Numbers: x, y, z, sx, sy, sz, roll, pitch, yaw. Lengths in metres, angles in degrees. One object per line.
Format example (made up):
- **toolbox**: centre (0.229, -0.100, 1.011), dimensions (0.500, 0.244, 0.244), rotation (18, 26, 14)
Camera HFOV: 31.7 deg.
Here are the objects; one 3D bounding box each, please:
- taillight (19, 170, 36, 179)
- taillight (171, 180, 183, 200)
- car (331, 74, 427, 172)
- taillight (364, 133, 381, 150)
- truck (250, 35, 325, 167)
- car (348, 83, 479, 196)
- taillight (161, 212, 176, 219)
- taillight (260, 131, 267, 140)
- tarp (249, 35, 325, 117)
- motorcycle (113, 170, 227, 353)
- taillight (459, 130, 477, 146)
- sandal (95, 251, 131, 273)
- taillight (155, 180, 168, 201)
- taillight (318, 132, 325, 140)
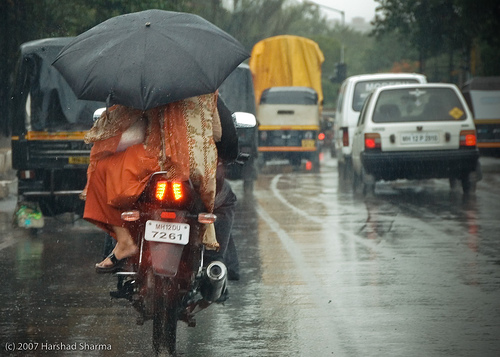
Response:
- **taillight**: centre (-3.894, -0.081, 15.514), dimensions (0.168, 0.185, 0.044), rotation (0, -2, -7)
- **taillight**: centre (-0.711, 0.109, 8.633), dimensions (0.087, 0.179, 0.038), rotation (-3, 10, 9)
- **car**: centre (2.886, -1.719, 22.266), dimensions (1.431, 1.649, 2.764), rotation (-2, 7, -1)
- **taillight**: centre (2.373, -0.719, 17.162), dimensions (0.259, 0.321, 0.294), rotation (0, -3, 3)
- **truck**: centre (1.173, -2.645, 29.413), dimensions (2.020, 2.797, 4.121), rotation (-1, -1, 2)
- **car**: centre (3.138, -0.867, 17.104), dimensions (1.455, 1.553, 2.831), rotation (-1, 6, 3)
- **taillight**: centre (-0.799, 0.355, 8.659), dimensions (0.136, 0.056, 0.020), rotation (-2, -4, -3)
- **taillight**: centre (0.419, -1.380, 27.828), dimensions (0.195, 0.229, 0.266), rotation (4, -41, 2)
- **tarp**: centre (1.175, -3.254, 28.205), dimensions (2.241, 2.605, 1.171), rotation (-1, 7, 4)
- **motorcycle**: centre (-0.803, 0.816, 8.903), dimensions (1.072, 1.846, 0.598), rotation (-3, 7, -11)
- **taillight**: centre (4.130, -0.788, 16.847), dimensions (0.215, 0.311, 0.303), rotation (2, 10, 18)
- **sandal**: centre (-1.389, 0.846, 9.044), dimensions (0.427, 0.177, 0.152), rotation (-7, 7, -38)
- **taillight**: centre (-0.869, 0.108, 8.636), dimensions (0.114, 0.181, 0.044), rotation (2, -2, 19)
- **taillight**: centre (2.196, -1.318, 27.505), dimensions (0.169, 0.228, 0.450), rotation (-1, 8, 4)
